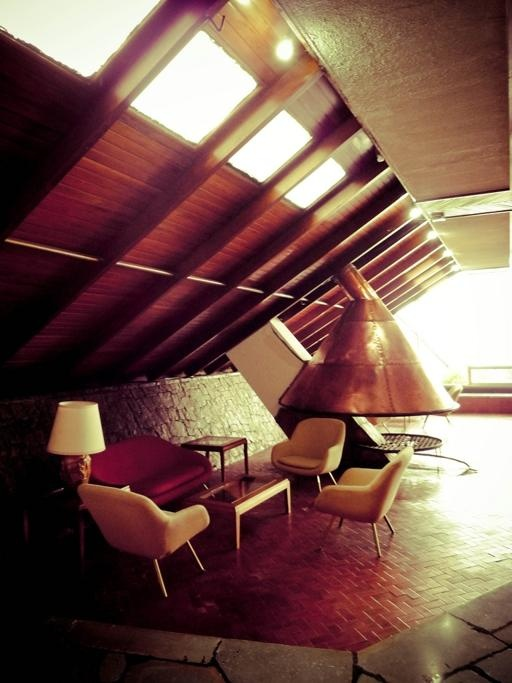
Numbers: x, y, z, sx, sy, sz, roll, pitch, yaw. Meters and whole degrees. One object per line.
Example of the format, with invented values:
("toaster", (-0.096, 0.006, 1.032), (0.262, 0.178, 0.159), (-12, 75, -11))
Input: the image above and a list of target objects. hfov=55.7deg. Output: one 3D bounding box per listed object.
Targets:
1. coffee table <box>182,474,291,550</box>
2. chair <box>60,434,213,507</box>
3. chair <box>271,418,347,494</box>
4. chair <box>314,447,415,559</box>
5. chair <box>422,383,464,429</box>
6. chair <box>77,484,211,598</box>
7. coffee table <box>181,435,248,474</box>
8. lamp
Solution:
("coffee table", (-0.112, 1.555, 4.596), (0.594, 0.329, 0.848), (-2, 4, 31))
("chair", (-1.002, 1.361, 5.077), (0.710, 0.545, 1.409), (-4, -1, 26))
("chair", (0.598, 1.319, 5.508), (0.829, 0.759, 0.810), (-1, 0, 4))
("chair", (0.885, 1.292, 4.030), (0.760, 0.698, 0.677), (-3, -3, 39))
("chair", (3.775, 1.286, 9.946), (0.654, 0.855, 1.870), (-2, -1, 21))
("chair", (-0.790, 1.335, 3.565), (0.699, 0.690, 0.774), (-1, 2, 34))
("coffee table", (-0.476, 1.317, 6.093), (0.618, 0.541, 0.594), (-2, -5, 18))
("lamp", (-1.321, 0.802, 3.682), (0.349, 0.673, 0.322), (-1, -1, -36))
